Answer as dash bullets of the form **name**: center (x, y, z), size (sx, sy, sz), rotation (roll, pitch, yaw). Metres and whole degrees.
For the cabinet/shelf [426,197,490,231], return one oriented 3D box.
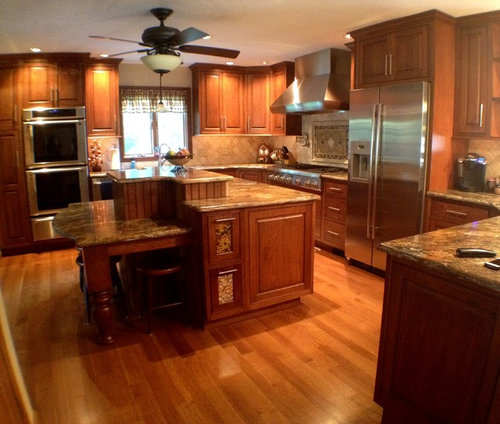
- **cabinet/shelf**: center (1.977, -0.004, 3.647), size (0.293, 0.444, 0.438), rotation (-5, 10, -35)

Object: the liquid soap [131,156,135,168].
- **liquid soap**: center (-1.797, -0.765, 5.894), size (0.057, 0.163, 0.221), rotation (-4, 14, -13)

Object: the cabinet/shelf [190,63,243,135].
- **cabinet/shelf**: center (-0.552, -1.826, 6.102), size (0.966, 1.164, 0.436), rotation (-4, 9, -25)

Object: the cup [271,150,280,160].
- **cup**: center (0.426, -0.974, 6.581), size (0.152, 0.172, 0.139), rotation (-1, 14, 0)

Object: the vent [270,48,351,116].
- **vent**: center (0.899, -1.775, 5.351), size (0.734, 0.758, 1.240), rotation (-5, 14, -25)

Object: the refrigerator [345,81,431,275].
- **refrigerator**: center (1.409, -0.353, 4.079), size (0.281, 1.885, 0.941), rotation (-9, 16, -27)

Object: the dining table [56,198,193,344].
- **dining table**: center (-0.993, 0.624, 3.233), size (0.961, 0.644, 1.283), rotation (-8, 17, -31)

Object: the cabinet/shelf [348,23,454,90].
- **cabinet/shelf**: center (1.539, -1.596, 3.949), size (0.340, 0.588, 0.946), rotation (-16, 19, -29)

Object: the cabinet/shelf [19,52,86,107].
- **cabinet/shelf**: center (-2.578, -1.713, 4.948), size (0.685, 0.662, 0.340), rotation (-2, 6, -26)

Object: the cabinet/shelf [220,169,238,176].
- **cabinet/shelf**: center (-0.319, -0.620, 6.132), size (0.288, 0.137, 0.134), rotation (-7, 15, -23)

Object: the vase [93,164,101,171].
- **vase**: center (-2.232, -0.636, 5.554), size (0.153, 0.105, 0.112), rotation (-1, 14, 1)

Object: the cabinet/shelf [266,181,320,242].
- **cabinet/shelf**: center (0.660, -0.044, 5.355), size (0.172, 0.698, 1.140), rotation (-7, 15, -23)

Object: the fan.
- **fan**: center (-0.818, -1.758, 3.753), size (0.714, 0.278, 0.777), rotation (2, 6, 28)

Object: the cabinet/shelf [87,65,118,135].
- **cabinet/shelf**: center (-2.046, -1.576, 5.356), size (0.487, 1.019, 0.135), rotation (-5, 15, -17)

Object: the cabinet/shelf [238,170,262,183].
- **cabinet/shelf**: center (0.004, -0.485, 6.189), size (0.371, 0.358, 0.211), rotation (0, 4, -4)
